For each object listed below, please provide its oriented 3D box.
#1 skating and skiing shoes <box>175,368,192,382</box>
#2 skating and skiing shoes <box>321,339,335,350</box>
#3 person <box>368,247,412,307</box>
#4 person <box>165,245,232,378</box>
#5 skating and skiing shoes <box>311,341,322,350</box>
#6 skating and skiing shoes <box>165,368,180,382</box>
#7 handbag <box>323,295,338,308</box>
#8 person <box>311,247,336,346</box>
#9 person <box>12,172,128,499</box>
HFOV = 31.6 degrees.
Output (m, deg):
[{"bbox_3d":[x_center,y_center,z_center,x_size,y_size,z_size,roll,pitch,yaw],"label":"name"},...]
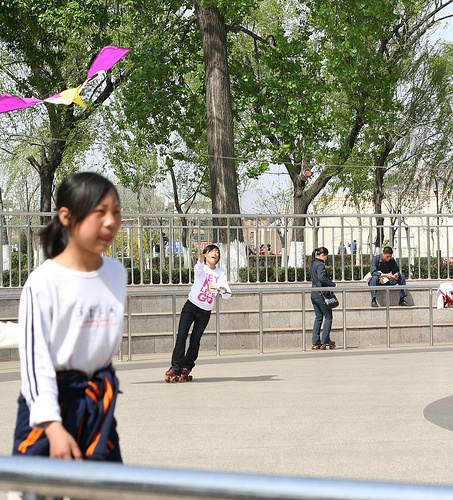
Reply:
[{"bbox_3d":[-0.446,1.364,8.733,0.071,0.101,0.224,3,11,8],"label":"skating and skiing shoes"},{"bbox_3d":[1.534,1.405,11.883,0.093,0.124,0.255,5,-19,-41],"label":"skating and skiing shoes"},{"bbox_3d":[2.756,0.441,13.711,0.838,1.040,0.731,-1,-3,-13],"label":"person"},{"bbox_3d":[-0.322,0.686,8.785,0.733,1.491,0.403,-1,-3,-6],"label":"person"},{"bbox_3d":[1.344,1.410,11.874,0.101,0.123,0.274,0,-9,4],"label":"skating and skiing shoes"},{"bbox_3d":[-0.585,1.368,8.649,0.144,0.117,0.070,9,-20,-17],"label":"skating and skiing shoes"},{"bbox_3d":[1.534,0.759,11.820,0.236,0.106,0.243,-6,17,-5],"label":"handbag"},{"bbox_3d":[1.464,0.707,12.104,0.362,1.547,0.767,-2,-3,8],"label":"person"},{"bbox_3d":[-0.564,0.246,2.861,0.371,1.046,0.459,-3,-3,23],"label":"person"}]
